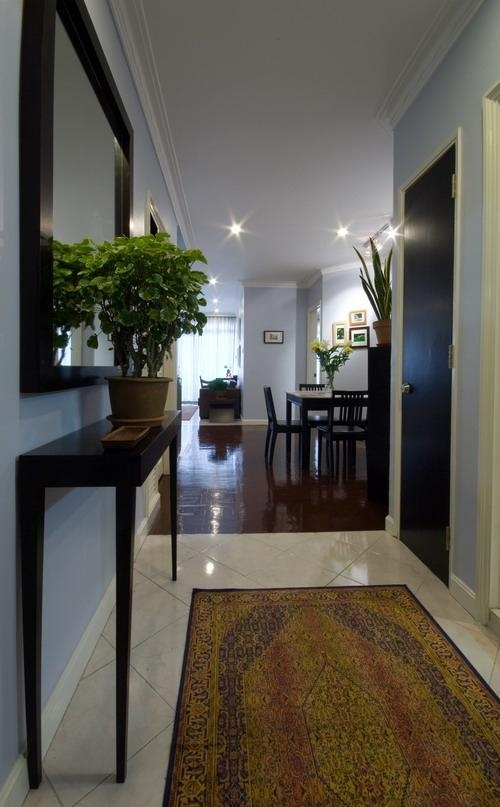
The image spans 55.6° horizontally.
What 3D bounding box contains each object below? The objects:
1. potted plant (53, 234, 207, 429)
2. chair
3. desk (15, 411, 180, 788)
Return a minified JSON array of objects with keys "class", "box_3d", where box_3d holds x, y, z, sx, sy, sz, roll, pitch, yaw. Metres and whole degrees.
[{"class":"potted plant","box_3d":[-0.334,-0.214,1.427,0.351,0.589,0.316,3,-2,27]},{"class":"chair","box_3d":[0.599,0.251,4.605,0.564,0.852,1.123,1,0,-6]},{"class":"desk","box_3d":[-0.411,0.531,1.249,0.160,0.590,0.665,0,1,-2]}]
